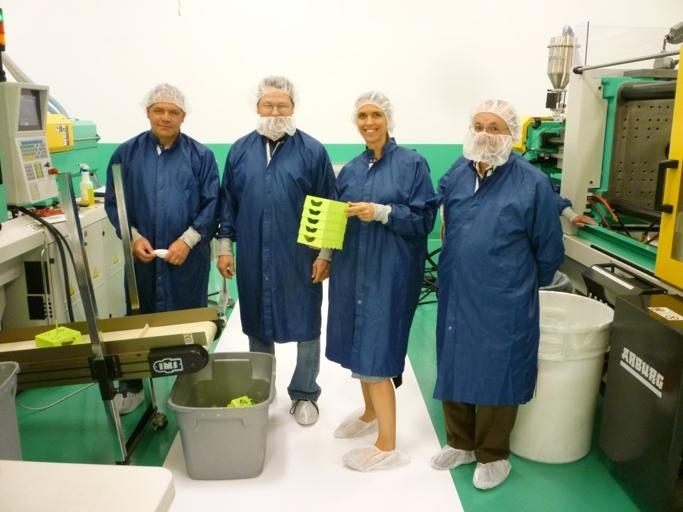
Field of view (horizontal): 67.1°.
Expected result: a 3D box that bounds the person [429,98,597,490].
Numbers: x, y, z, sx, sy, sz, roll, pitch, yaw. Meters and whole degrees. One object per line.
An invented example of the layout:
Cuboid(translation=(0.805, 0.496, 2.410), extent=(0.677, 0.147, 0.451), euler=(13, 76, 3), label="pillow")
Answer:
Cuboid(translation=(0.664, 0.188, 2.274), extent=(0.557, 1.678, 0.444), euler=(4, 18, 24), label="person")

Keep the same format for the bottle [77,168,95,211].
Cuboid(translation=(-1.628, -0.452, 3.244), extent=(0.088, 0.244, 0.256), euler=(-11, 19, -26), label="bottle")

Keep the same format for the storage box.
Cuboid(translation=(-0.546, 0.764, 2.463), extent=(0.477, 0.455, 0.447), euler=(-5, 17, -5), label="storage box")

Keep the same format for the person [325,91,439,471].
Cuboid(translation=(0.186, 0.116, 2.426), extent=(0.562, 1.701, 0.520), euler=(-4, 16, -3), label="person")

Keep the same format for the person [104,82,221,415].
Cuboid(translation=(-0.937, -0.013, 2.727), extent=(0.661, 1.714, 0.465), euler=(-12, 18, -27), label="person")
